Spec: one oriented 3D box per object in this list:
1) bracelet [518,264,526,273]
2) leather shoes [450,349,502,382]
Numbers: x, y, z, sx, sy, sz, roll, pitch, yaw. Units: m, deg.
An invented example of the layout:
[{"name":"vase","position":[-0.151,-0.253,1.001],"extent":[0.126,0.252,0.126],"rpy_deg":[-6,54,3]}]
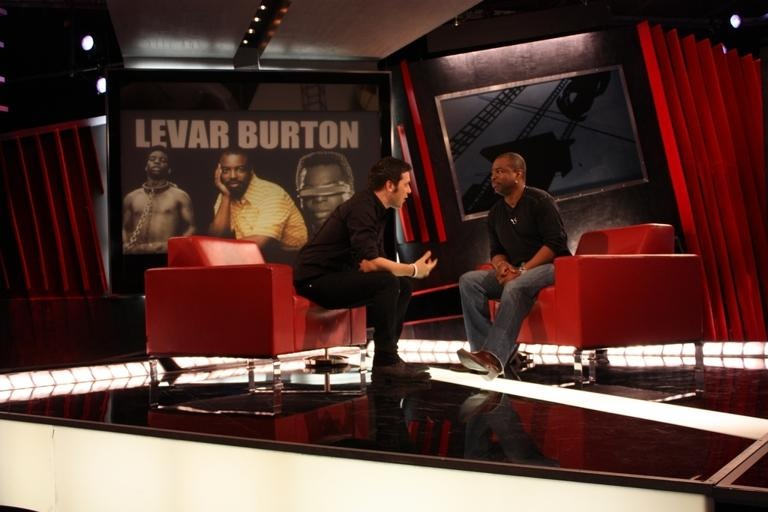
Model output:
[{"name":"bracelet","position":[0.980,0.088,4.474],"extent":[0.046,0.061,0.020],"rpy_deg":[-9,-41,35]},{"name":"leather shoes","position":[0.650,0.697,4.117],"extent":[0.269,0.203,0.378],"rpy_deg":[-2,-4,18]}]
